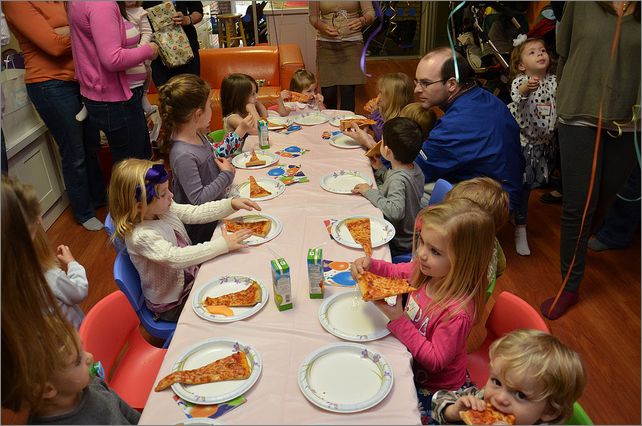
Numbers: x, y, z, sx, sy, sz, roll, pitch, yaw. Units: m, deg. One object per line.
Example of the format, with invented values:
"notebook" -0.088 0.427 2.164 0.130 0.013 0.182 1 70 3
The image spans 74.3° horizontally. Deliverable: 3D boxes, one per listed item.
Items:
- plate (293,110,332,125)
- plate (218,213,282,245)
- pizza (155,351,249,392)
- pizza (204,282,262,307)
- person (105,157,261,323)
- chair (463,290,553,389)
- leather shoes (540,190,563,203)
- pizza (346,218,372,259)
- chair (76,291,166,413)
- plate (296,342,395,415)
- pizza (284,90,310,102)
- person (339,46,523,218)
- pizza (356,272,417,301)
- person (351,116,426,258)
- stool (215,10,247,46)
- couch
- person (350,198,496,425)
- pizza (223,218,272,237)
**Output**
"plate" -0.095 -0.859 3.887 0.195 0.031 0.211 8 36 11
"plate" -0.433 0.116 2.411 0.298 0.035 0.321 10 19 19
"pizza" -0.476 0.656 1.756 0.265 0.039 0.158 -9 36 -6
"pizza" -0.426 0.389 2.019 0.236 0.077 0.120 -4 56 -6
"person" -0.772 0.248 2.558 0.793 1.237 0.561 -11 25 -22
"chair" 0.844 0.588 1.954 0.284 0.410 0.255 -25 55 -17
"leather shoes" 2.320 -0.170 4.246 0.204 0.095 0.100 4 33 12
"pizza" 0.238 0.137 2.350 0.142 0.027 0.279 -11 42 -9
"chair" -0.964 0.663 2.038 0.282 0.416 0.263 14 65 -2
"plate" 0.099 0.664 1.740 0.382 0.084 0.266 -4 33 2
"pizza" -0.248 -1.141 4.238 0.184 0.115 0.050 9 61 1
"person" 0.963 -0.588 3.489 1.356 1.424 1.020 3 22 15
"pizza" 0.285 0.328 1.954 0.270 0.068 0.279 0 14 -13
"person" 0.436 -0.148 2.713 0.328 1.067 0.432 22 43 24
"stool" -1.497 -2.951 7.018 0.421 0.563 0.441 18 28 35
"couch" -1.000 -1.566 5.585 1.467 1.067 0.905 -3 26 -6
"person" 0.468 0.465 1.927 0.485 1.193 0.498 -2 30 -1
"pizza" -0.429 0.079 2.435 0.155 0.033 0.135 4 33 5
